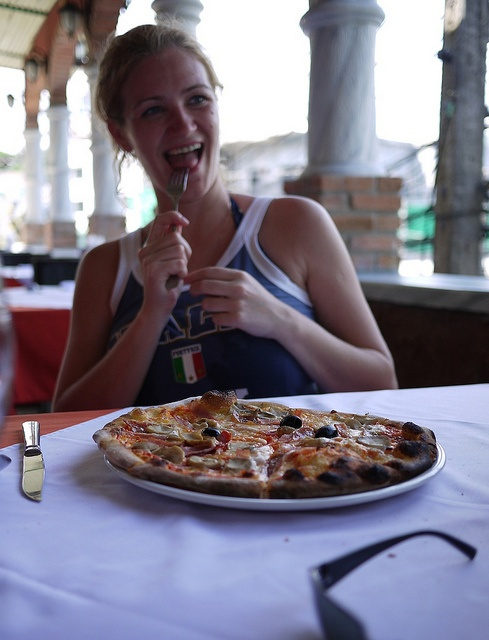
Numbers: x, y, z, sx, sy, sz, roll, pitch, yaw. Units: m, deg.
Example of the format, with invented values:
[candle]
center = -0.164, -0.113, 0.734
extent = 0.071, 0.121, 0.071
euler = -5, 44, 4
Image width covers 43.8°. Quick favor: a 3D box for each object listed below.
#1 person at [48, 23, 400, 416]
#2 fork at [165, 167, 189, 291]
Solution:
[person]
center = -0.120, -0.248, 1.382
extent = 0.819, 0.872, 0.546
euler = 3, 8, 36
[fork]
center = -0.147, -0.208, 1.320
extent = 0.049, 0.312, 0.036
euler = 0, -20, 5
